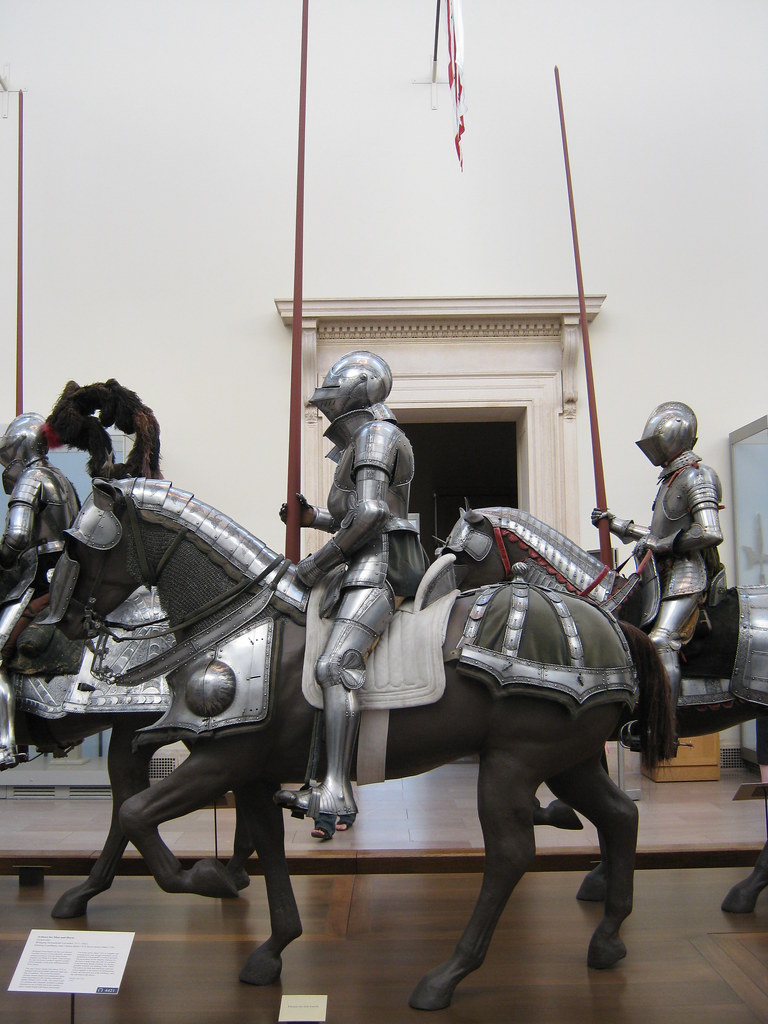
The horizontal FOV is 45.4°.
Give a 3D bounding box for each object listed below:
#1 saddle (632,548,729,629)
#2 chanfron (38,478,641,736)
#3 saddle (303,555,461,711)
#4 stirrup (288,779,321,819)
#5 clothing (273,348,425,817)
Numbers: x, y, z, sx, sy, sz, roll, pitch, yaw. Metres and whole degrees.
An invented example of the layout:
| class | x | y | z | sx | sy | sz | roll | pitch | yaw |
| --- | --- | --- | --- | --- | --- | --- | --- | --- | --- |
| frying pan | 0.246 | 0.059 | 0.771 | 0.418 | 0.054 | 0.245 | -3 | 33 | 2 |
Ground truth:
| class | x | y | z | sx | sy | sz | roll | pitch | yaw |
| --- | --- | --- | --- | --- | --- | --- | --- | --- | --- |
| saddle | 1.163 | 0.301 | 3.614 | 0.334 | 0.246 | 0.246 | -2 | 0 | 2 |
| chanfron | -0.127 | 0.375 | 2.622 | 1.671 | 0.805 | 0.542 | 5 | -5 | 3 |
| saddle | 0.057 | 0.343 | 2.475 | 0.291 | 0.367 | 0.139 | 3 | -25 | 11 |
| stirrup | -0.191 | 0.724 | 2.326 | 0.063 | 0.047 | 0.101 | -1 | 7 | -8 |
| clothing | -0.084 | 0.210 | 2.708 | 0.419 | 1.329 | 0.458 | -1 | -8 | 2 |
